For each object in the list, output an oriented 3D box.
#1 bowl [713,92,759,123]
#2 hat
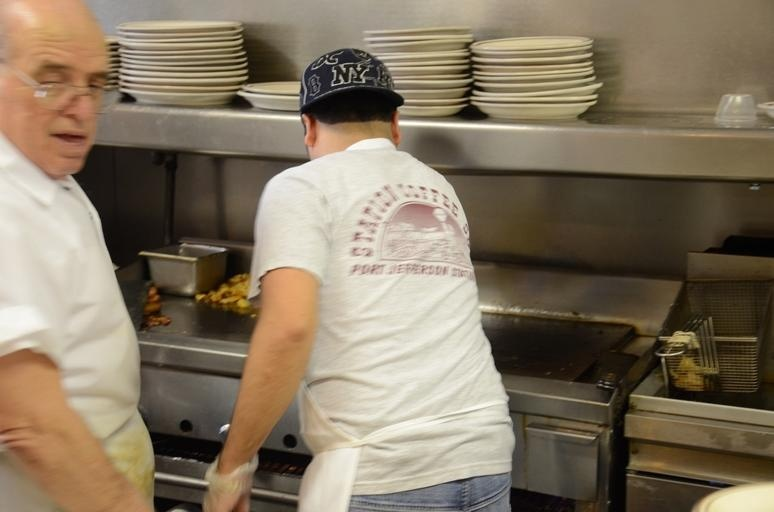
[{"bbox_3d":[1.077,-0.445,1.884,0.115,0.069,0.108,0,8,0],"label":"bowl"},{"bbox_3d":[-0.093,-0.458,1.563,0.186,0.113,0.232,-9,4,-20],"label":"hat"}]
